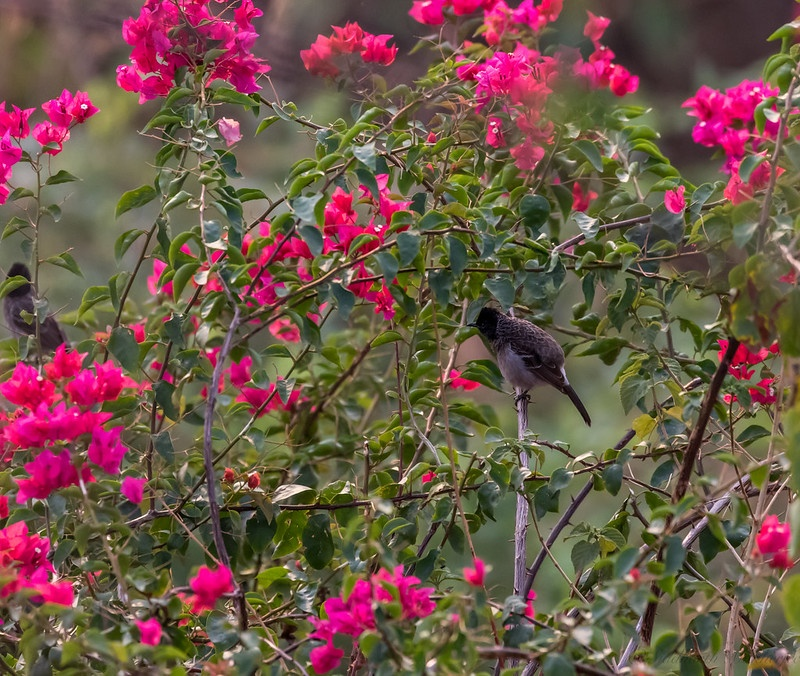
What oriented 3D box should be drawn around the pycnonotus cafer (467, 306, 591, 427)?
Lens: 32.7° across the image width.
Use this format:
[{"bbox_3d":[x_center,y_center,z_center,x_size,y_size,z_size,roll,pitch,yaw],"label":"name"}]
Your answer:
[{"bbox_3d":[0.469,0.071,4.955,0.466,0.324,0.208,15,19,6],"label":"pycnonotus cafer"}]
